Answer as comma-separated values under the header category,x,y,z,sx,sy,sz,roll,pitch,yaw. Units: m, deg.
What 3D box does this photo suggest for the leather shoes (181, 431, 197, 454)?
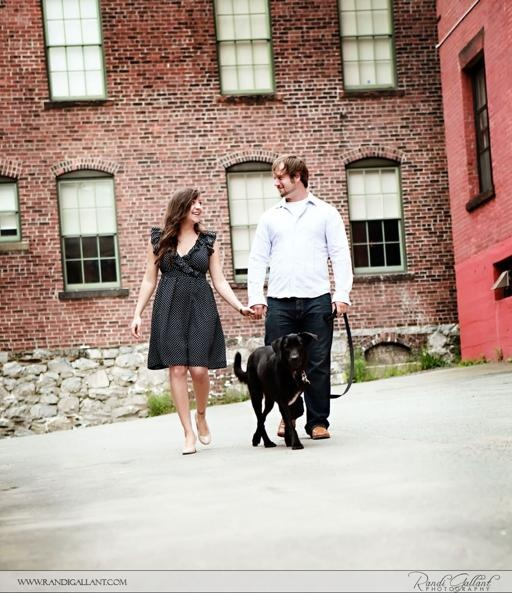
category,x,y,z,sx,sy,sz,roll,pitch,yaw
leather shoes,-0.454,1.000,4.919,0.101,0.108,0.314,-4,-2,-6

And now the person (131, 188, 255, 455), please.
category,x,y,z,sx,sy,sz,roll,pitch,yaw
person,-0.472,0.154,4.964,0.712,1.277,0.576,-4,-2,-11
